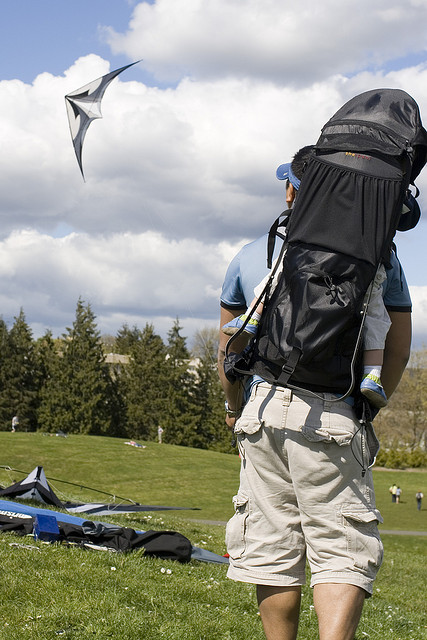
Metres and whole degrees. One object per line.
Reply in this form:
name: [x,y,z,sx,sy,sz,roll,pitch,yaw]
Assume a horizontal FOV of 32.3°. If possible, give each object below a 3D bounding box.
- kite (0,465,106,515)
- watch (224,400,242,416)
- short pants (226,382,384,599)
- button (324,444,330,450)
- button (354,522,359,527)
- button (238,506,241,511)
kite: [-2.489,2.658,11.368,1.052,0.691,1.904,-1,-4,36]
watch: [0.105,0.492,3.942,0.089,0.094,0.042,2,35,3]
short pants: [0.372,0.739,3.289,0.703,0.913,0.326,-1,-4,34]
button: [0.481,0.532,3.103,0.032,0.025,0.007,1,0,-5]
button: [0.607,0.861,3.120,0.026,0.022,0.006,-5,-14,22]
button: [0.125,0.877,3.443,0.020,0.016,0.031,0,-12,3]
